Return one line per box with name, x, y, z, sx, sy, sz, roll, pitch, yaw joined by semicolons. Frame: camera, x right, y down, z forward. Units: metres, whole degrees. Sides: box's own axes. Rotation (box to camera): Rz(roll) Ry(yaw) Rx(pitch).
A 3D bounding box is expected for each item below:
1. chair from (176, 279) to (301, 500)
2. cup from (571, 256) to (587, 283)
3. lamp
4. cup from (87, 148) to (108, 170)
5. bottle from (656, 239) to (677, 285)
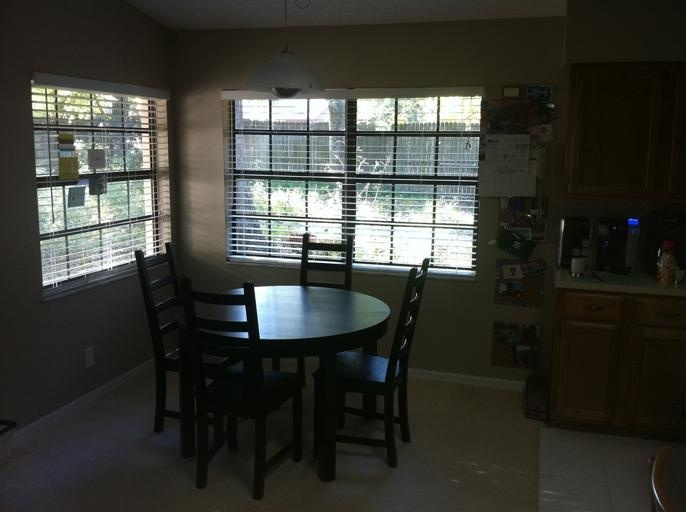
chair;-0.645;0.744;3.557;0.750;1.340;0.781;-1;10;-18
cup;1.750;0.083;4.149;0.160;0.179;0.105;3;5;13
lamp;-0.400;-1.568;4.098;0.476;0.819;1.502;1;11;-4
cup;-1.952;-0.771;4.360;0.098;0.175;0.268;3;10;5
bottle;2.328;0.046;3.905;0.114;0.298;0.216;7;11;30
